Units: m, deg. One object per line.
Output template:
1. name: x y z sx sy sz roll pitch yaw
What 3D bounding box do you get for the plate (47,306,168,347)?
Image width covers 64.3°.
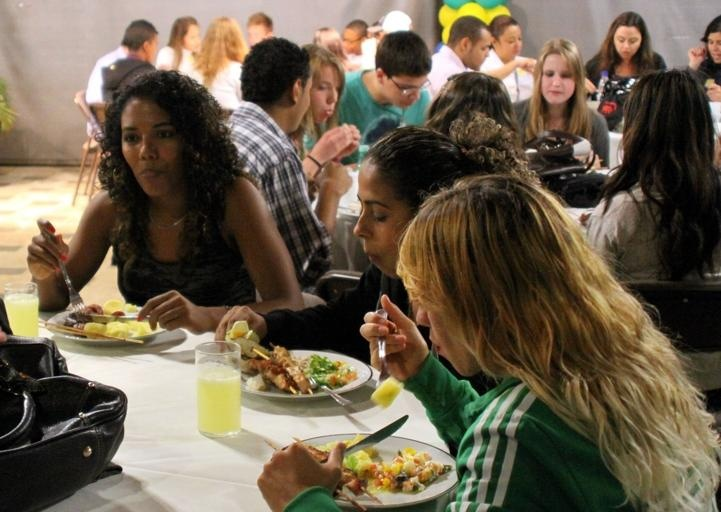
1. plate: -0.750 0.221 1.707 0.197 0.028 0.205 16 -40 -33

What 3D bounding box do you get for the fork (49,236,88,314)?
1. fork: -0.982 0.093 1.934 0.046 0.043 0.370 -31 42 -12

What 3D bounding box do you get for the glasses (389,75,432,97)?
1. glasses: 0.321 -1.303 4.282 0.185 0.055 0.174 -12 57 -18

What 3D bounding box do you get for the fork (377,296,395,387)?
1. fork: 0.054 0.222 1.365 0.032 0.179 0.022 0 8 36

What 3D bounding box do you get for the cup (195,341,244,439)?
1. cup: -0.320 0.303 1.298 0.096 0.185 0.122 -3 11 -12
